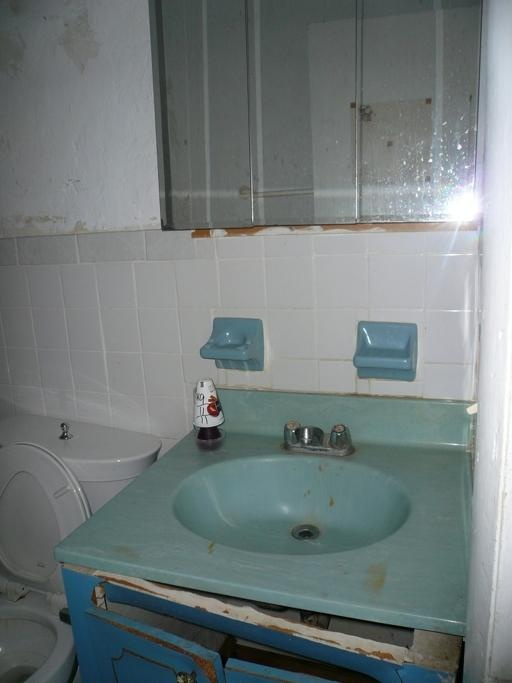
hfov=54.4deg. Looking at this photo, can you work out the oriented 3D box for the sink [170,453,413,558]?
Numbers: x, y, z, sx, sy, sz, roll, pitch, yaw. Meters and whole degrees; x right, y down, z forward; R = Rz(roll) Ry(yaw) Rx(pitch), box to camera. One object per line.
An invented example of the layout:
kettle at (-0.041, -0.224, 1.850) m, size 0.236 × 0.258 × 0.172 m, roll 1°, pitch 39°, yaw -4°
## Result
sink at (0.067, 0.312, 0.933) m, size 0.430 × 0.101 × 0.277 m, roll 2°, pitch 12°, yaw 24°
